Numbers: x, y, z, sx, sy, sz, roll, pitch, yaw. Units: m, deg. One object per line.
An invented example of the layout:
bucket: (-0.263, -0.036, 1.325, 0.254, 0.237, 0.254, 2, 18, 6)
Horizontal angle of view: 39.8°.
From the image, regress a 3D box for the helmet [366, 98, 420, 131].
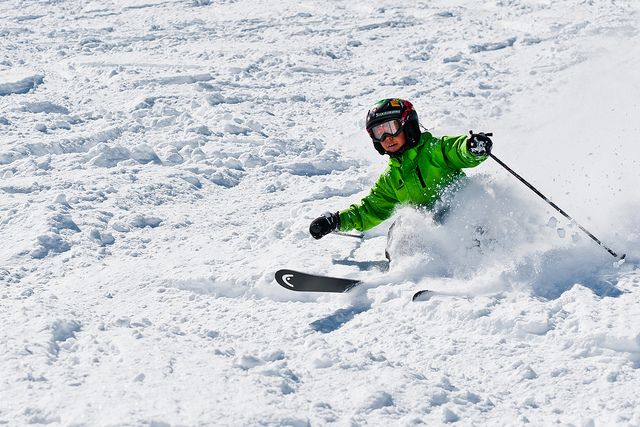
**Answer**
helmet: (1.097, -1.718, 15.071, 0.657, 0.389, 0.421, -2, 49, 3)
